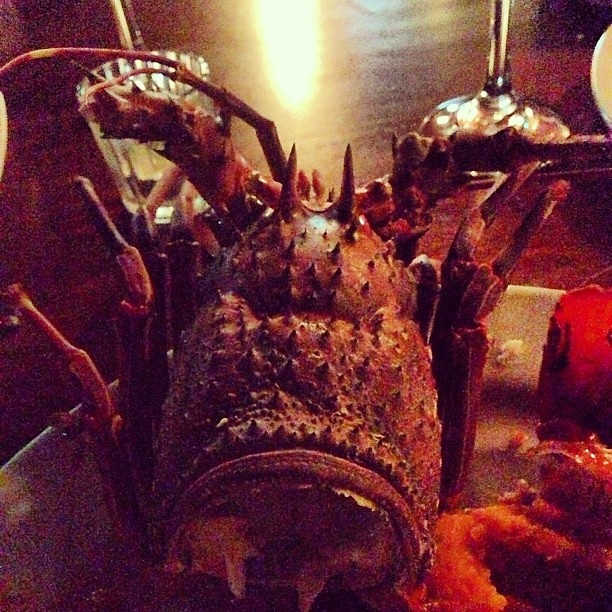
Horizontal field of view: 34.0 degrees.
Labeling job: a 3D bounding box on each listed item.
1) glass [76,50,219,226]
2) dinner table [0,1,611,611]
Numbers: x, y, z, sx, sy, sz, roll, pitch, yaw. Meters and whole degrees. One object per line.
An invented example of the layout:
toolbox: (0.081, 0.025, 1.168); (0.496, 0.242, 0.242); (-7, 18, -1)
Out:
glass: (-0.234, -0.263, 1.623); (0.209, 0.232, 0.269); (-5, 51, 1)
dinner table: (-0.001, 0.050, 1.558); (0.966, 0.454, 0.862); (2, 76, 8)
